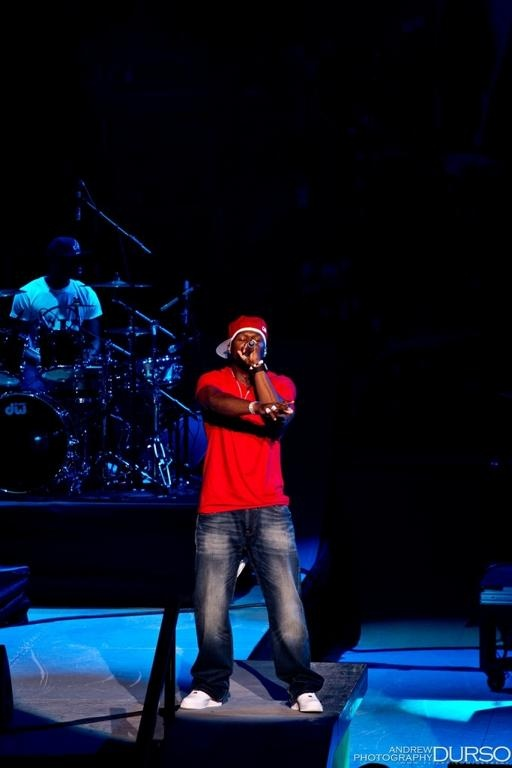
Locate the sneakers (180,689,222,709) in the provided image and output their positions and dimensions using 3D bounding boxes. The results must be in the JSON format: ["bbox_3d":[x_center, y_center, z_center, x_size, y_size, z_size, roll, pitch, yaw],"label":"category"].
[{"bbox_3d":[-0.166,0.957,2.225,0.049,0.051,0.131,7,0,42],"label":"sneakers"}]

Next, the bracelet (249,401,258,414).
[{"bbox_3d":[-0.010,0.071,2.281,0.014,0.032,0.032,6,-4,7],"label":"bracelet"}]

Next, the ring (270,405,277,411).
[{"bbox_3d":[0.053,0.071,2.242,0.014,0.018,0.005,-2,0,5],"label":"ring"}]

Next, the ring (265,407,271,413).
[{"bbox_3d":[0.036,0.077,2.245,0.015,0.015,0.004,-7,-10,40],"label":"ring"}]

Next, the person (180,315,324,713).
[{"bbox_3d":[-0.004,0.385,2.434,0.440,1.287,0.565,1,-5,2],"label":"person"}]

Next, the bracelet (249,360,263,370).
[{"bbox_3d":[0.002,-0.065,2.451,0.032,0.017,0.034,4,-9,-30],"label":"bracelet"}]

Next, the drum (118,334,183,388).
[{"bbox_3d":[-0.861,-0.184,6.165,0.490,0.340,0.324,-3,3,-25],"label":"drum"}]

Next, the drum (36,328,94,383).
[{"bbox_3d":[-1.566,-0.222,5.866,0.400,0.414,0.418,-2,0,1],"label":"drum"}]

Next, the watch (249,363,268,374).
[{"bbox_3d":[0.013,-0.051,2.482,0.047,0.031,0.044,-14,-8,28],"label":"watch"}]
